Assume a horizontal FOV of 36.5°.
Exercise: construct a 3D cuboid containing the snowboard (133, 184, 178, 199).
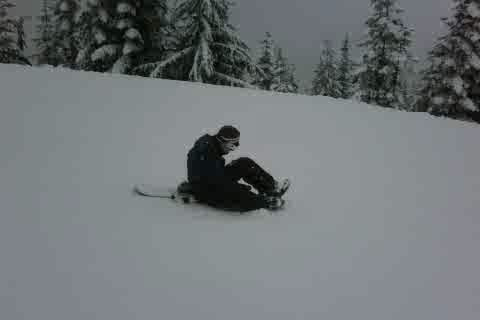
[{"bbox_3d":[-2.700,0.960,23.040,1.003,0.261,0.579,4,0,-7],"label":"snowboard"}]
